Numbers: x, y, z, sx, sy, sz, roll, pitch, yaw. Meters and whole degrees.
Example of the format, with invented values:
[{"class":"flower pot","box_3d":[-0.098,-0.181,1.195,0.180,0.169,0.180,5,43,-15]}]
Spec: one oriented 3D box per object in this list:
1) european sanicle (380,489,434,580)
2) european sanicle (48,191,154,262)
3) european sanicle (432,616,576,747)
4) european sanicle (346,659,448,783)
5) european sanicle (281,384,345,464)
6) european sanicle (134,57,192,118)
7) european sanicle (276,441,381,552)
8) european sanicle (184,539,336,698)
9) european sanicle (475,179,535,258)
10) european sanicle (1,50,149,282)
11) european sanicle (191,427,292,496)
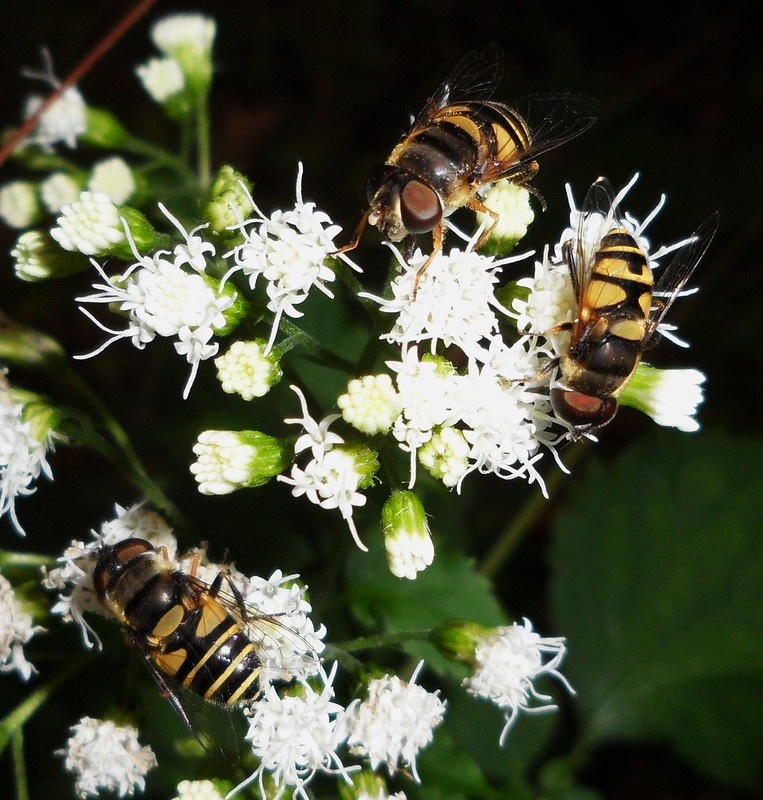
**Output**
[{"class":"european sanicle","box_3d":[0.067,0.353,2.665,0.110,0.111,0.248,1,69,-24]},{"class":"european sanicle","box_3d":[-0.774,-0.485,2.786,0.250,0.168,0.129,25,24,5]},{"class":"european sanicle","box_3d":[0.349,0.743,2.872,0.181,0.389,0.409,32,83,1]},{"class":"european sanicle","box_3d":[0.020,0.860,2.728,0.270,0.136,0.321,-23,89,-8]},{"class":"european sanicle","box_3d":[-0.181,0.093,2.648,0.139,0.086,0.206,-31,82,-17]},{"class":"european sanicle","box_3d":[-0.698,-1.011,3.224,0.119,0.212,0.060,-29,27,0]},{"class":"european sanicle","box_3d":[-0.141,0.246,2.620,0.215,0.229,0.297,12,39,8]},{"class":"european sanicle","box_3d":[-0.301,0.570,2.659,0.290,0.113,0.382,-42,84,-13]},{"class":"european sanicle","box_3d":[0.349,-0.511,2.930,0.163,0.217,0.216,12,57,-10]},{"class":"european sanicle","box_3d":[-0.986,-0.817,3.179,0.221,0.386,0.710,18,77,-4]},{"class":"european sanicle","box_3d":[-0.381,0.164,2.695,0.221,0.154,0.115,1,43,-24]}]
